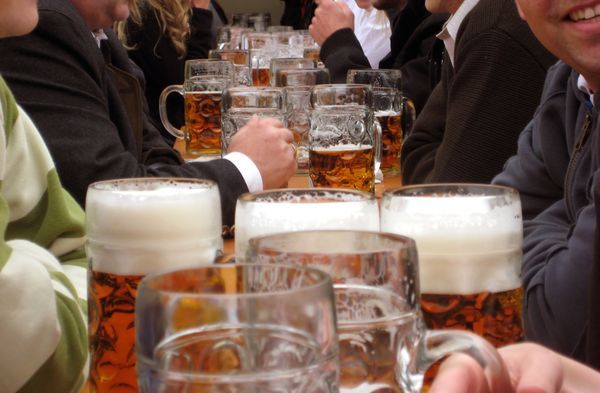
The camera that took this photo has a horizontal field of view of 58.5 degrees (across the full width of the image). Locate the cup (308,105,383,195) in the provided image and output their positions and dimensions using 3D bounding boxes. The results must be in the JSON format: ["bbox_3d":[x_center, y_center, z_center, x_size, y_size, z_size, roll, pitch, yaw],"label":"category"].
[{"bbox_3d":[0.084,-0.094,1.047,0.127,0.153,0.105,-1,19,-2],"label":"cup"}]

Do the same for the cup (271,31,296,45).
[{"bbox_3d":[-0.090,-0.808,2.730,0.107,0.076,0.111,-1,6,0],"label":"cup"}]

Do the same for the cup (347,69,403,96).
[{"bbox_3d":[0.222,-0.337,1.576,0.133,0.096,0.129,0,0,0],"label":"cup"}]

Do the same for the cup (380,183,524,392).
[{"bbox_3d":[0.096,0.071,0.412,0.142,0.133,0.103,-1,1,-6],"label":"cup"}]

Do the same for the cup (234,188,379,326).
[{"bbox_3d":[0.006,0.038,0.391,0.079,0.074,0.077,0,-1,0],"label":"cup"}]
